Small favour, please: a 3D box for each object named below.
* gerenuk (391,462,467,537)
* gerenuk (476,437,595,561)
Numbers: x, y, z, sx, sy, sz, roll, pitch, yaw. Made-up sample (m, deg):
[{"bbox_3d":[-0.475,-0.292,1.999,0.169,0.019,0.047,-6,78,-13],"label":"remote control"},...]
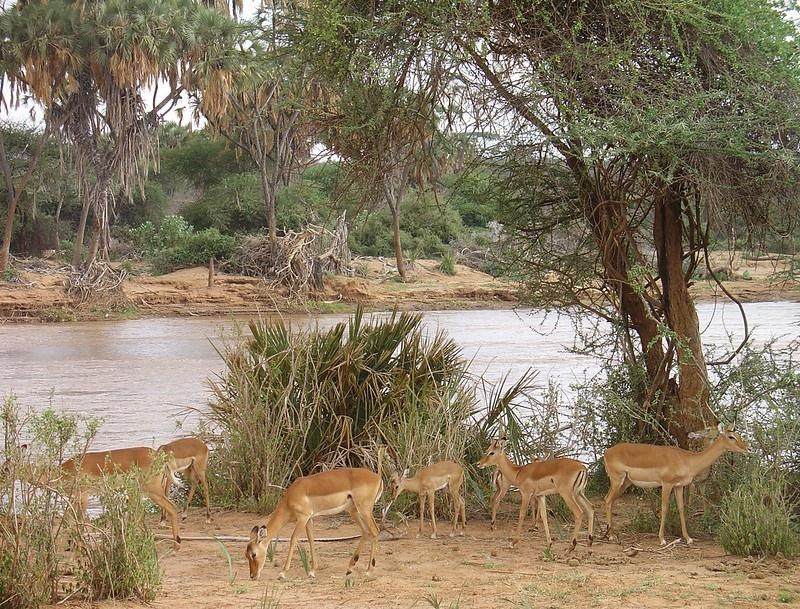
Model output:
[{"bbox_3d":[0.282,1.846,9.210,0.774,0.740,0.229,-5,-2,-25],"label":"gerenuk"},{"bbox_3d":[1.283,1.761,8.863,0.952,0.995,0.612,4,6,43],"label":"gerenuk"}]
